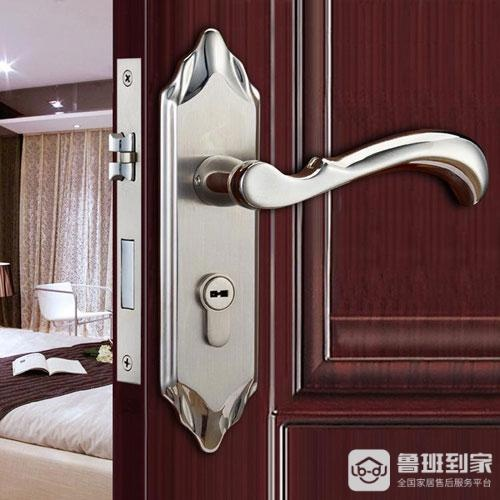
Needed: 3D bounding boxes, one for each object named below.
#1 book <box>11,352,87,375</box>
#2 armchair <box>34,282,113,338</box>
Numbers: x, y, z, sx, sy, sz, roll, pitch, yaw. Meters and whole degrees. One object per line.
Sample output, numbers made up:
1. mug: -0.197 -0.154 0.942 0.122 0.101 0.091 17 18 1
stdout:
1. book: -0.880 0.507 2.810 0.298 0.057 0.279 0 2 -24
2. armchair: -1.451 0.506 5.227 0.763 0.457 0.583 2 2 34
